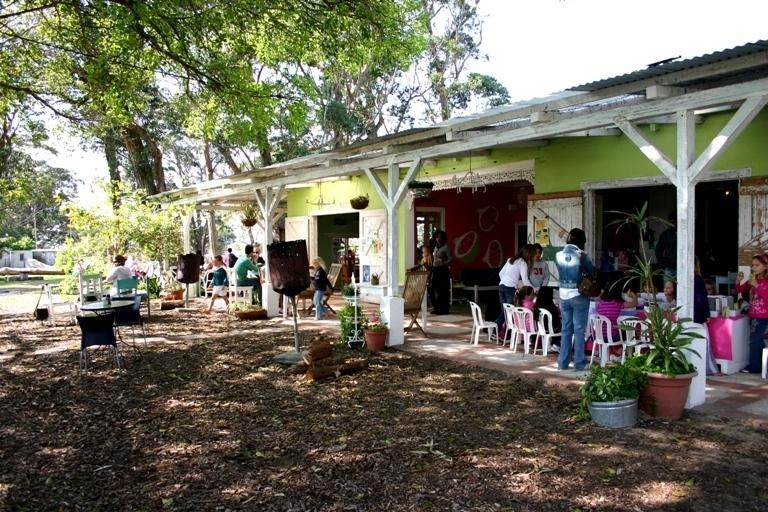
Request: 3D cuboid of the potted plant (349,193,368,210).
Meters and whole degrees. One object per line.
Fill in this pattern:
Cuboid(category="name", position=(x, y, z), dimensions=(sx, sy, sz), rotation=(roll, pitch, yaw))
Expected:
Cuboid(category="potted plant", position=(-0.667, -1.454, 15.278), dimensions=(0.434, 0.379, 0.468), rotation=(-3, 10, -7))

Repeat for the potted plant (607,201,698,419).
Cuboid(category="potted plant", position=(3.454, 0.771, 6.892), dimensions=(1.063, 2.387, 1.010), rotation=(-6, -12, 14))

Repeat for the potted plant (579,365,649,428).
Cuboid(category="potted plant", position=(2.657, 1.633, 6.735), dimensions=(0.714, 0.672, 0.687), rotation=(0, -5, -8))

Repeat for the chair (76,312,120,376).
Cuboid(category="chair", position=(-4.734, 1.354, 9.167), dimensions=(0.560, 1.035, 1.539), rotation=(-8, 11, -29))

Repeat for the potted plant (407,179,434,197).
Cuboid(category="potted plant", position=(0.809, -1.485, 12.320), dimensions=(0.427, 0.368, 0.531), rotation=(7, 13, 42))

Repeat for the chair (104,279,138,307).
Cuboid(category="chair", position=(-5.118, 0.720, 10.928), dimensions=(0.411, 0.689, 0.435), rotation=(0, 8, -44))

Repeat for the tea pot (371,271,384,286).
Cuboid(category="tea pot", position=(-0.189, 0.648, 15.484), dimensions=(0.410, 0.387, 0.235), rotation=(1, -2, -25))

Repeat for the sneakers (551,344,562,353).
Cuboid(category="sneakers", position=(2.873, 1.540, 9.306), dimensions=(0.178, 0.238, 0.064), rotation=(-6, -42, 22))

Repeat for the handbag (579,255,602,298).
Cuboid(category="handbag", position=(3.072, 0.315, 8.347), dimensions=(0.232, 0.711, 0.626), rotation=(-5, -8, 42))

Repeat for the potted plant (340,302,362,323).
Cuboid(category="potted plant", position=(-0.596, 1.032, 10.297), dimensions=(0.317, 0.226, 0.323), rotation=(0, -3, 3))

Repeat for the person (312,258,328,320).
Cuboid(category="person", position=(-1.491, 0.739, 13.231), dimensions=(0.385, 1.539, 0.956), rotation=(-4, 10, -9))

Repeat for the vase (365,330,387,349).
Cuboid(category="vase", position=(-0.147, 1.479, 9.883), dimensions=(0.358, 0.270, 0.356), rotation=(0, -8, 1))

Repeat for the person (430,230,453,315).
Cuboid(category="person", position=(1.353, 0.441, 13.284), dimensions=(0.460, 2.016, 0.865), rotation=(-1, 10, 6))

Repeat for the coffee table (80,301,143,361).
Cuboid(category="coffee table", position=(-4.938, 1.318, 10.143), dimensions=(1.142, 1.130, 1.124), rotation=(0, -5, 0))

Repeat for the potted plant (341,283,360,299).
Cuboid(category="potted plant", position=(-0.604, 0.642, 10.306), dimensions=(0.255, 0.185, 0.252), rotation=(2, -2, -20))
